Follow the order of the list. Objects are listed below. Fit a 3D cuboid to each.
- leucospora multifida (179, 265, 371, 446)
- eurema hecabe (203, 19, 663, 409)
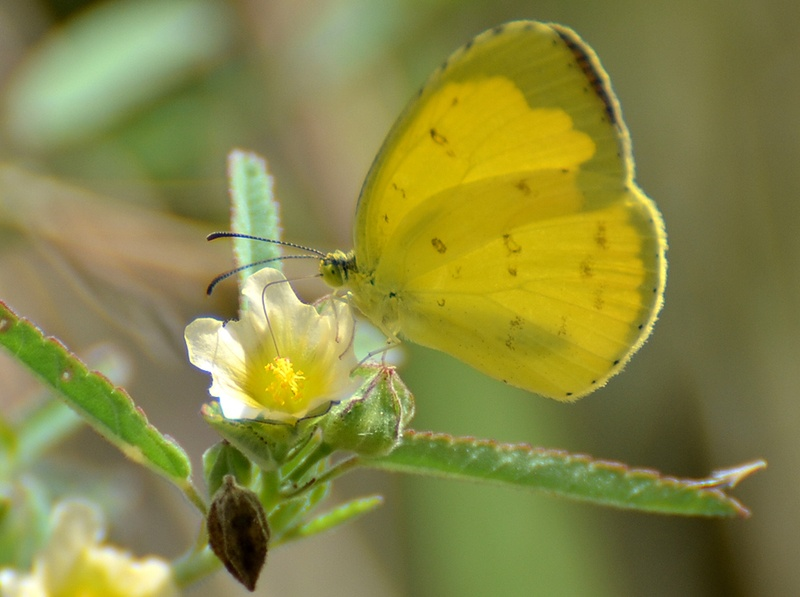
[{"bbox_3d":[-0.363,0.153,2.907,0.433,0.473,0.246,21,-40,17],"label":"leucospora multifida"},{"bbox_3d":[0.305,-0.234,3.250,0.947,0.875,0.908,-16,-36,42],"label":"eurema hecabe"}]
